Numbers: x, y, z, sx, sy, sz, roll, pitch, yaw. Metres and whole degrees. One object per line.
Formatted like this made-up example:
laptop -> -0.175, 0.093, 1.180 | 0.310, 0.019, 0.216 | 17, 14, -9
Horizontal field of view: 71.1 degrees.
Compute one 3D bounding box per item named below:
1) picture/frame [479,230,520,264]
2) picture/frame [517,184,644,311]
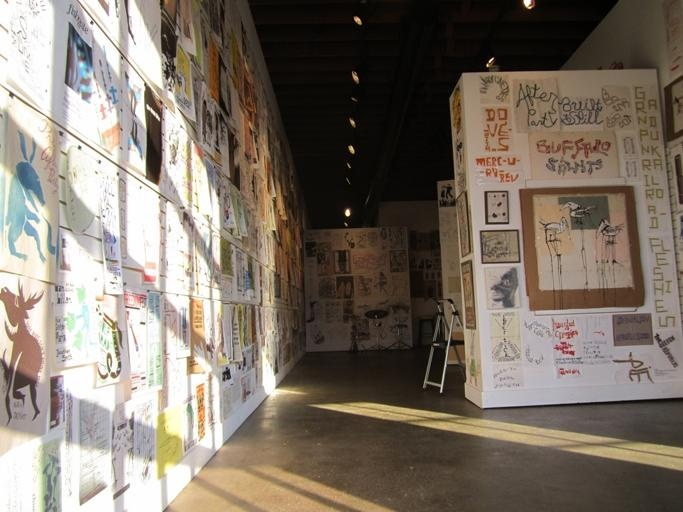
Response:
picture/frame -> 1.626, -0.083, 4.959 | 0.302, 0.299, 0.013 | 0, -4, -1
picture/frame -> 2.474, -0.100, 5.013 | 1.096, 1.290, 0.102 | -2, -9, 14
